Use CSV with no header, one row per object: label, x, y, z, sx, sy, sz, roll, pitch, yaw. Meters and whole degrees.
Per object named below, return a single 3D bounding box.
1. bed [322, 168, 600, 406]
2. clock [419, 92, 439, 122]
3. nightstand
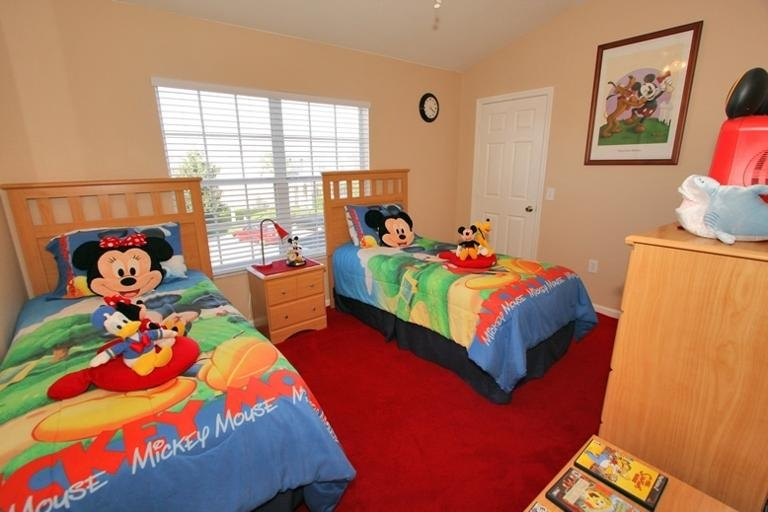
bed,0.563,0.058,4.508,1.479,1.485,2.405,-15,22,-39
clock,0.527,-1.766,5.575,0.336,0.334,0.035,-11,15,-44
nightstand,-0.934,0.413,4.580,0.647,0.641,0.473,-14,20,-40
